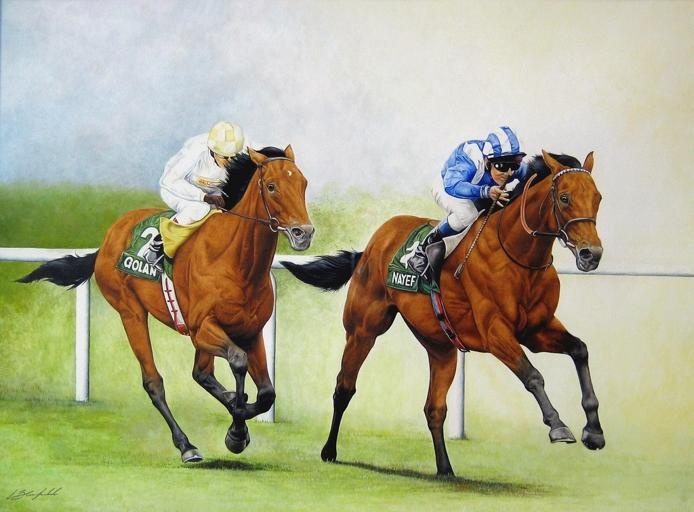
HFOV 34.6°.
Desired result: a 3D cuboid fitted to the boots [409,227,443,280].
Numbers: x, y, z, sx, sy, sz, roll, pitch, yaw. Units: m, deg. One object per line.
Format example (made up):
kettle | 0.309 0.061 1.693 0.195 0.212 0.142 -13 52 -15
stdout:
boots | 0.474 -0.019 6.673 0.133 0.151 0.364 21 40 -1
